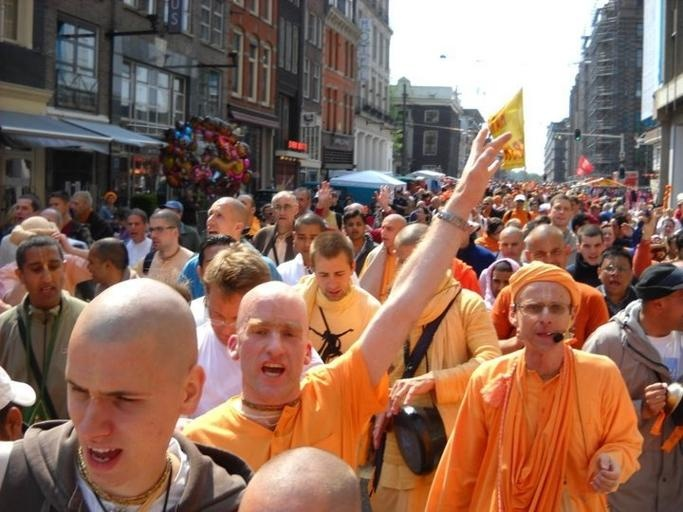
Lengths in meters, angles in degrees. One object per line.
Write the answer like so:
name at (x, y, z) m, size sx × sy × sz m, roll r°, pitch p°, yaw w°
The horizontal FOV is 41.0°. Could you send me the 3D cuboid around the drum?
drum at (0.590, 1.309, 7.051) m, size 0.360 × 0.532 × 0.507 m, roll 2°, pitch 12°, yaw 41°
